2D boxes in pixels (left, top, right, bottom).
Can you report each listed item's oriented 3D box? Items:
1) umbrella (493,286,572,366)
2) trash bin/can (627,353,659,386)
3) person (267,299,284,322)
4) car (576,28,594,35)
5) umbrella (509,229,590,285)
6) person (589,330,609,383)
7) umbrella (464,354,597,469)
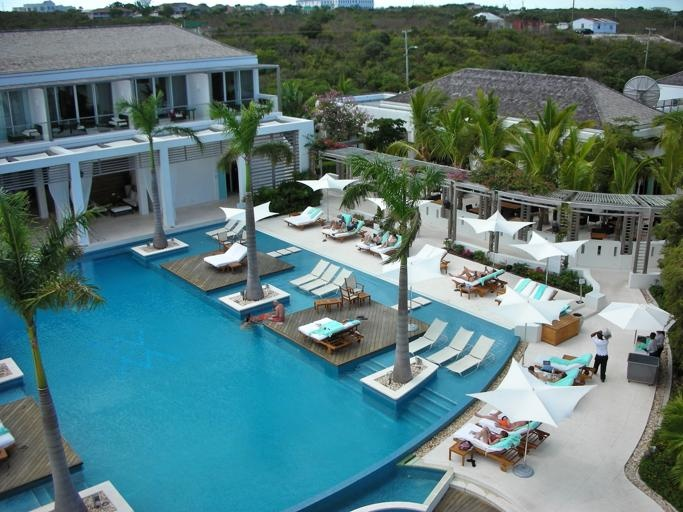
[{"bbox_3d":[5.836,1.906,15.615,1.814,1.481,1.647,-8,-11,6],"label":"umbrella"},{"bbox_3d":[8.601,3.199,13.886,0.775,0.680,0.749,10,23,32],"label":"trash bin/can"},{"bbox_3d":[-2.254,1.954,17.812,0.581,0.750,0.719,-16,29,-36],"label":"person"},{"bbox_3d":[46.267,-42.443,92.273,2.785,1.155,5.054,6,19,23],"label":"car"},{"bbox_3d":[7.705,0.226,18.053,1.592,1.146,1.634,-4,20,-43],"label":"umbrella"},{"bbox_3d":[7.490,2.838,14.100,0.544,1.459,0.472,7,22,29],"label":"person"},{"bbox_3d":[4.429,3.750,11.270,1.639,1.823,2.039,15,25,40],"label":"umbrella"}]
